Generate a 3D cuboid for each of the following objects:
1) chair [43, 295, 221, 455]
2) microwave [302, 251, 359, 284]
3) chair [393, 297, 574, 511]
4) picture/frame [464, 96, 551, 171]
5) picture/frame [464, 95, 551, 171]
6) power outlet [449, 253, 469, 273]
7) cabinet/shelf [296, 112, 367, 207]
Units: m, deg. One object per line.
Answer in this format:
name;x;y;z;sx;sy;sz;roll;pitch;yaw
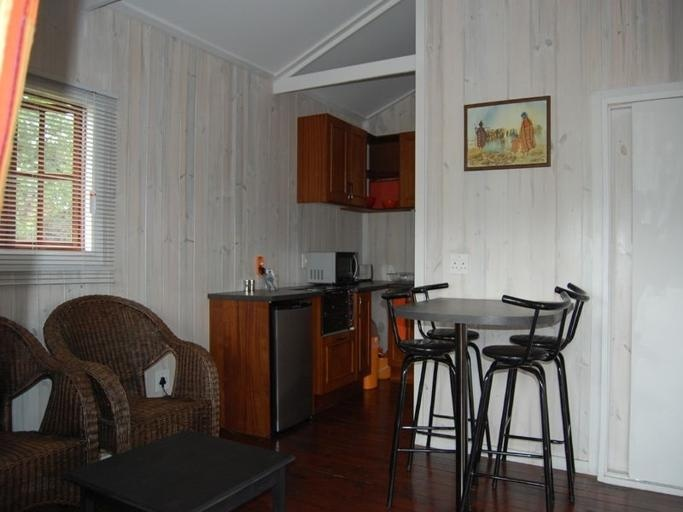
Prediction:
chair;-1.409;0.702;3.561;0.998;0.956;0.785;-4;-2;45
microwave;-0.105;0.115;5.657;0.432;0.333;0.509;3;5;32
chair;0.890;0.827;3.276;0.849;1.293;1.156;5;6;44
picture/frame;1.201;-0.865;3.874;0.495;0.467;0.038;0;3;26
picture/frame;1.201;-0.866;3.874;0.500;0.473;0.036;0;2;26
power outlet;0.865;0.054;4.012;0.124;0.150;0.015;1;1;30
cabinet/shelf;-0.122;-0.969;5.657;0.364;0.945;1.013;-1;-2;26
